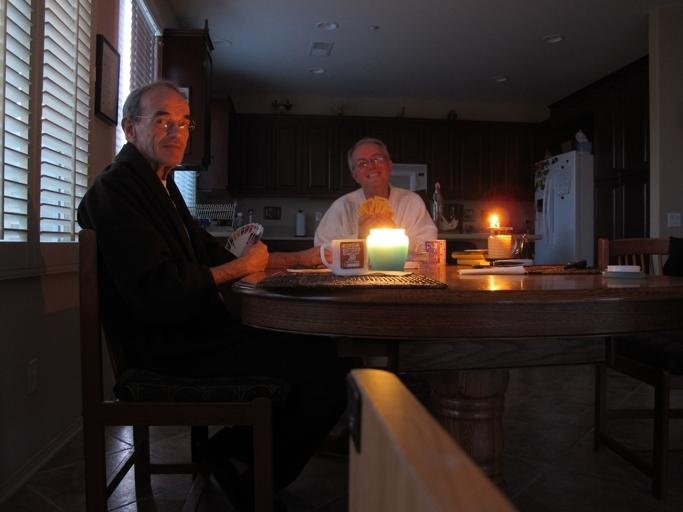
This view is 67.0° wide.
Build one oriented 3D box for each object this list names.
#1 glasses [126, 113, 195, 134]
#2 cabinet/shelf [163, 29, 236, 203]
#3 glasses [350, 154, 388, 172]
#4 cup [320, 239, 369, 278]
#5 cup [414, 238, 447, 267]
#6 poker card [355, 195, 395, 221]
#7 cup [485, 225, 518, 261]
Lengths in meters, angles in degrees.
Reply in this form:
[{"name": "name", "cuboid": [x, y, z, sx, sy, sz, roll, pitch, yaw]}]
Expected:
[{"name": "glasses", "cuboid": [-0.722, -0.522, 2.026, 0.122, 0.039, 0.121, 6, 8, 36]}, {"name": "cabinet/shelf", "cuboid": [-1.120, -1.146, 4.117, 0.314, 1.026, 1.721, -1, 4, -7]}, {"name": "glasses", "cuboid": [0.160, -0.528, 2.914, 0.179, 0.074, 0.080, -3, 3, 11]}, {"name": "cup", "cuboid": [0.007, 0.012, 1.621, 0.139, 0.106, 0.096, -1, 2, -2]}, {"name": "cup", "cuboid": [0.358, -0.012, 2.194, 0.145, 0.132, 0.088, -2, -4, 30]}, {"name": "poker card", "cuboid": [0.157, -0.196, 2.200, 0.108, 0.049, 0.115, 44, 21, 24]}, {"name": "cup", "cuboid": [0.665, -0.056, 2.123, 0.129, 0.147, 0.131, 0, 4, 0]}]
